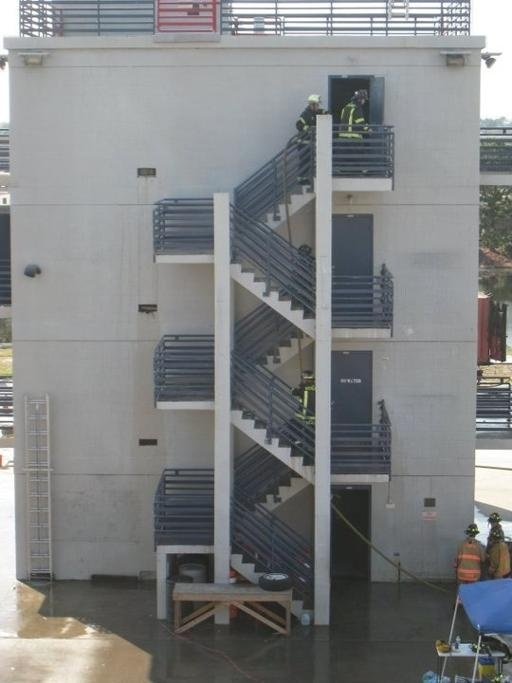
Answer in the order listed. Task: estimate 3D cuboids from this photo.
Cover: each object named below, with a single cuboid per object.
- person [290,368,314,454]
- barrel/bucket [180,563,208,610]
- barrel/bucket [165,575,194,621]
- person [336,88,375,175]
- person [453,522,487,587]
[{"bbox_3d":[0.943,1.351,39.911,0.320,1.759,0.284,0,5,-4],"label":"person"},{"bbox_3d":[-1.151,4.570,39.794,0.533,0.735,0.560,0,-5,0],"label":"barrel/bucket"},{"bbox_3d":[-1.300,4.782,40.028,0.549,1.062,0.592,0,0,0],"label":"barrel/bucket"},{"bbox_3d":[1.912,-3.770,40.320,0.775,1.724,0.883,5,7,11],"label":"person"},{"bbox_3d":[4.055,4.214,40.119,0.428,1.585,0.446,7,-20,4],"label":"person"}]
